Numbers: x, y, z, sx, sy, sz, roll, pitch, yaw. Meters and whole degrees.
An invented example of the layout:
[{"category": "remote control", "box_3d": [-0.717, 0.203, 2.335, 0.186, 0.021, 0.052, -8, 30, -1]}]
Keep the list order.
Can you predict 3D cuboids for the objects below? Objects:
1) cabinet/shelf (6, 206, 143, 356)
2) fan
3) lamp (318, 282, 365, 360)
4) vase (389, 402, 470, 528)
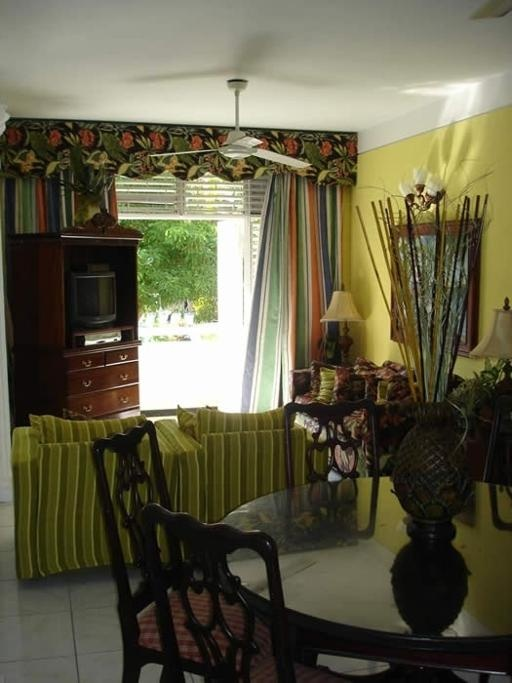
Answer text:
[{"category": "cabinet/shelf", "box_3d": [-1.686, -0.523, 4.928, 0.582, 1.566, 1.273, 7, 11, 30]}, {"category": "fan", "box_3d": [-0.066, -1.700, 4.087, 0.804, 0.426, 0.910, -4, -1, -27]}, {"category": "lamp", "box_3d": [0.898, -0.129, 5.575, 0.446, 0.838, 0.441, -2, -1, -1]}, {"category": "vase", "box_3d": [0.490, 0.316, 1.481, 0.242, 0.345, 0.247, -6, -3, 27]}]
